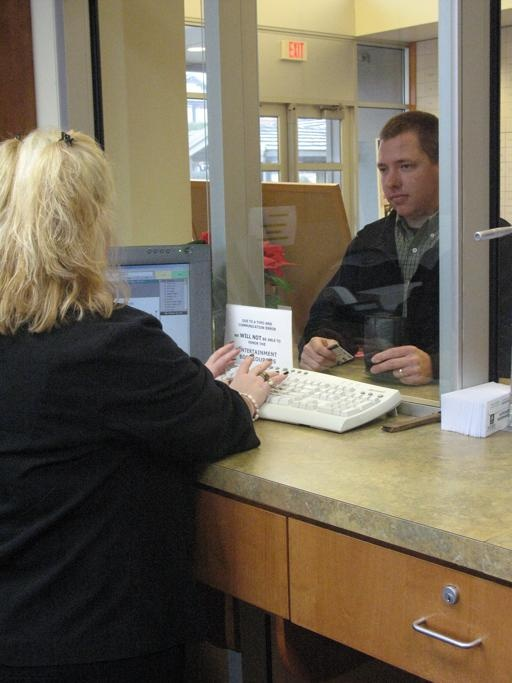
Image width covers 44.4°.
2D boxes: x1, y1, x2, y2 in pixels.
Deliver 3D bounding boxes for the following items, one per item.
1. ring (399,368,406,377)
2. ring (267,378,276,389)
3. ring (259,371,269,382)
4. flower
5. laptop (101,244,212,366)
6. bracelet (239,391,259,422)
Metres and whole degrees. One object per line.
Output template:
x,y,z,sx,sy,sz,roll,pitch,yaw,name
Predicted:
0.301,0.063,1.289,0.011,0.011,0.012,-1,1,0,ring
0.028,0.084,1.246,0.013,0.017,0.019,-2,5,-3,ring
0.018,0.070,1.261,0.017,0.016,0.017,9,-25,4,ring
-0.034,-0.180,1.555,0.196,0.189,0.192,-3,4,-26,flower
-0.189,-0.083,1.192,0.263,0.244,0.138,3,8,-6,laptop
-0.010,0.120,1.178,0.018,0.049,0.044,-17,1,-1,bracelet
